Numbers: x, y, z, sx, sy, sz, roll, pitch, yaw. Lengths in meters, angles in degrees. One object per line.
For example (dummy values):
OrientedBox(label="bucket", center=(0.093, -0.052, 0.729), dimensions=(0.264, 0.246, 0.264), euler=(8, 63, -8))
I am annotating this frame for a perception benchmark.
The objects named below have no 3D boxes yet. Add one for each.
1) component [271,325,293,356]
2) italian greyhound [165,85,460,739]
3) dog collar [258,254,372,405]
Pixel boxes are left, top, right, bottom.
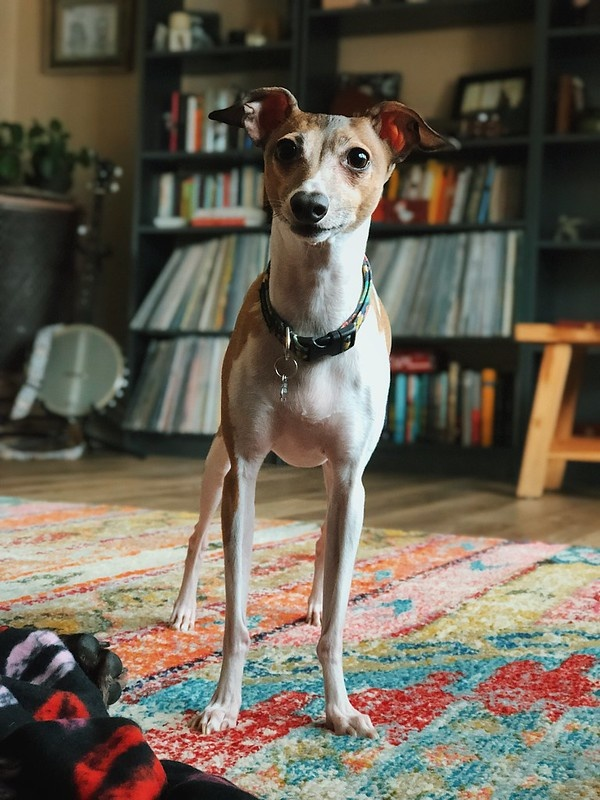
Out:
OrientedBox(label="component", center=(-0.018, -0.068, 0.954), dimensions=(0.011, 0.033, 0.028), euler=(-1, 4, -27))
OrientedBox(label="italian greyhound", center=(0.031, -0.017, 1.031), dimensions=(0.310, 0.755, 0.334), euler=(1, 4, 2))
OrientedBox(label="dog collar", center=(0.033, -0.103, 1.003), dimensions=(0.130, 0.059, 0.203), euler=(-6, 43, 14))
